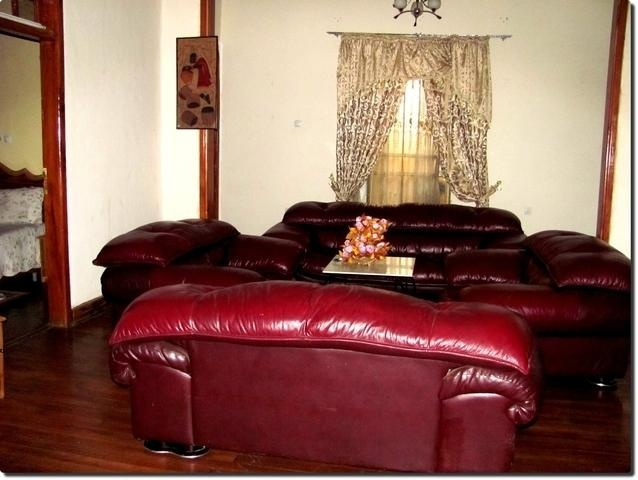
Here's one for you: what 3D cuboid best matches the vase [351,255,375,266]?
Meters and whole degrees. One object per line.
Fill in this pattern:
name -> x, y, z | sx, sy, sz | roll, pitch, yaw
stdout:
vase -> 0.341, 0.158, 3.811 | 0.204, 0.053, 0.087 | -5, 14, -26

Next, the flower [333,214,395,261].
flower -> 0.332, 0.009, 3.901 | 0.373, 0.371, 0.191 | -7, -12, -9

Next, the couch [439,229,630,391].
couch -> 1.371, 0.354, 3.166 | 0.925, 0.709, 1.271 | 3, 14, 14

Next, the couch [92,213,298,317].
couch -> -1.023, 0.124, 3.663 | 0.891, 0.432, 1.077 | 2, 12, 10
